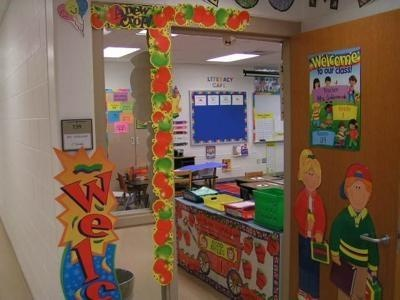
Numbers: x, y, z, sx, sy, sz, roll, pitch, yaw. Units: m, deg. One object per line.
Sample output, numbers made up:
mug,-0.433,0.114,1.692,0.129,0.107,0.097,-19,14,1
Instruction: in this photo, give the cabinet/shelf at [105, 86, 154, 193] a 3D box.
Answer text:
cabinet/shelf,-1.974,-0.527,8.818,1.140,0.414,3.289,5,-39,-6

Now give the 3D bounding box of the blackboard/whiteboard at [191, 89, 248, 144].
blackboard/whiteboard,0.541,-1.128,9.544,1.571,1.543,0.168,-3,4,-24
